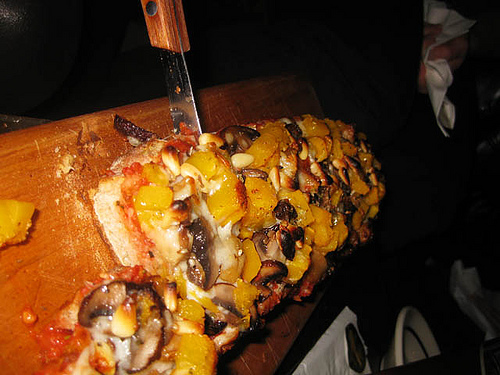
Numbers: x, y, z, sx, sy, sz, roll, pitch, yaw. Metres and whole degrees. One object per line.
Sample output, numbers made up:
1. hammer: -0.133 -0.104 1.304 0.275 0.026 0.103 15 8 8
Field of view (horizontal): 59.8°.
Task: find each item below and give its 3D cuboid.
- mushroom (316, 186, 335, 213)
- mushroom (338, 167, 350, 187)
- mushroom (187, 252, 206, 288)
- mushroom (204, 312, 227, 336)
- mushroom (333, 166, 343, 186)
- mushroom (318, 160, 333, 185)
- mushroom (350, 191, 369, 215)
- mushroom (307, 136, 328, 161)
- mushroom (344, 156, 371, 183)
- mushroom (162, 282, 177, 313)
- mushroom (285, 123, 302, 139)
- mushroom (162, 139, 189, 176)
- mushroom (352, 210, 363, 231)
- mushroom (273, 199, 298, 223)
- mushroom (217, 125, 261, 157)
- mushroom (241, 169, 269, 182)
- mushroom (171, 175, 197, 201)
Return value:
1. mushroom: 0.446 0.072 2.574 0.119 0.031 0.133 31 64 -34
2. mushroom: 0.583 -0.065 2.681 0.074 0.028 0.103 -35 106 -36
3. mushroom: -0.279 0.420 2.163 0.111 0.050 0.194 -12 30 -13
4. mushroom: -0.176 0.695 2.176 0.107 0.080 0.074 7 51 7
5. mushroom: 0.538 -0.072 2.681 0.067 0.022 0.097 -24 95 -51
6. mushroom: 0.465 -0.081 2.664 0.093 0.031 0.142 9 68 -40
7. mushroom: 0.699 0.103 2.777 0.163 0.033 0.099 60 31 -14
8. mushroom: 0.423 -0.234 2.626 0.085 0.032 0.139 -15 86 6
9. mushroom: 0.671 -0.113 2.806 0.235 0.041 0.135 61 35 -7
10. mushroom: -0.381 0.524 2.071 0.054 0.041 0.136 -3 84 -4
11. mushroom: 0.272 -0.357 2.707 0.106 0.027 0.068 52 45 -1
12. mushroom: -0.391 -0.170 2.210 0.110 0.043 0.175 14 62 -28
13. mushroom: 0.689 0.210 2.770 0.070 0.128 0.027 2 12 -21
14. mushroom: 0.184 0.129 2.390 0.141 0.058 0.120 17 51 31
15. mushroom: -0.082 -0.289 2.543 0.314 0.294 0.115 3 74 20
16. mushroom: 0.030 -0.073 2.358 0.104 0.038 0.065 12 46 -13
17. mushroom: -0.326 0.004 2.097 0.096 0.042 0.111 -30 88 -7
